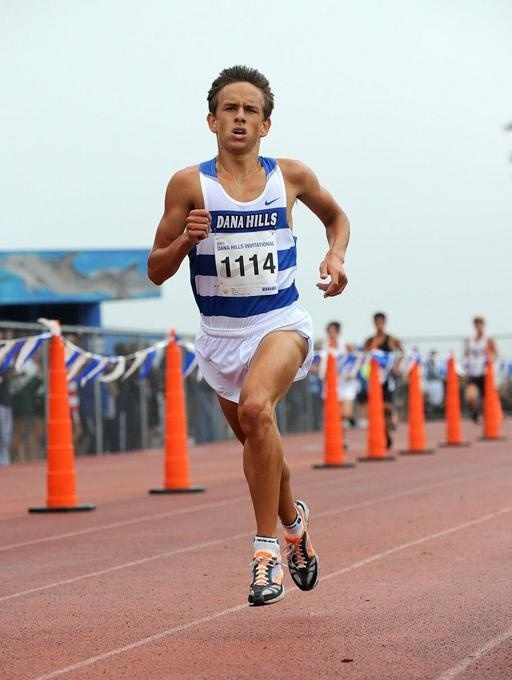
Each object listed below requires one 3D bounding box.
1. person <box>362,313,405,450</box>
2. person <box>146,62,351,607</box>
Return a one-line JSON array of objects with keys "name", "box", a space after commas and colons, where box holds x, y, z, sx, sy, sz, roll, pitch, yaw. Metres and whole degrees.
[{"name": "person", "box": [0.599, 0.200, 4.201, 0.169, 0.609, 0.742, -2, -3, 7]}, {"name": "person", "box": [0.024, -0.022, 2.991, 0.727, 1.786, 0.722, -2, -3, -11]}]
